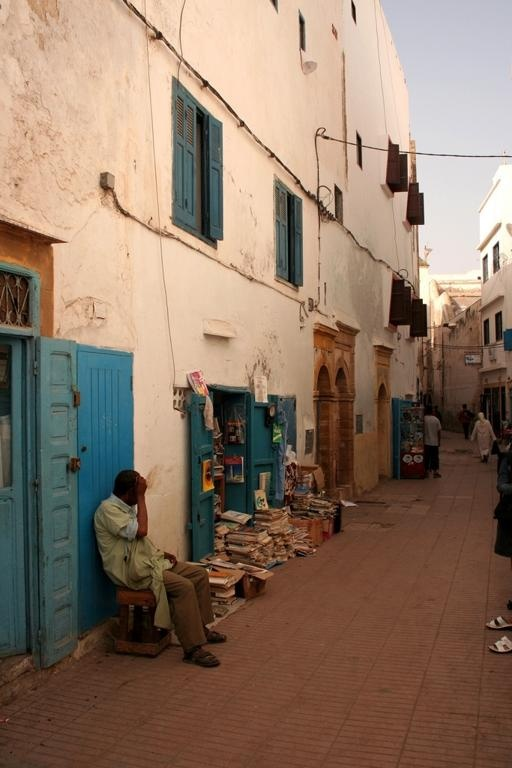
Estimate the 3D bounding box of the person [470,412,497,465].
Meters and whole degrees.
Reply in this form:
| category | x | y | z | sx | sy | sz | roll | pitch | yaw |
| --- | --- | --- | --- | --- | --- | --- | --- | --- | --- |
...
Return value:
| category | x | y | z | sx | sy | sz | roll | pitch | yaw |
| --- | --- | --- | --- | --- | --- | --- | --- | --- | --- |
| person | 7.575 | 1.672 | 20.612 | 0.654 | 2.027 | 0.416 | 2 | 33 | 26 |

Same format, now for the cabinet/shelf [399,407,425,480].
| category | x | y | z | sx | sy | sz | roll | pitch | yaw |
| --- | --- | --- | --- | --- | --- | --- | --- | --- | --- |
| cabinet/shelf | 4.346 | 1.622 | 17.220 | 0.675 | 1.964 | 0.559 | -1 | -3 | 21 |

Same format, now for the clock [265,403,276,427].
| category | x | y | z | sx | sy | sz | roll | pitch | yaw |
| --- | --- | --- | --- | --- | --- | --- | --- | --- | --- |
| clock | 0.197 | 0.408 | 8.409 | 0.041 | 0.241 | 0.247 | -4 | -1 | 17 |

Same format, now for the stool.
| category | x | y | z | sx | sy | sz | roll | pitch | yaw |
| --- | --- | --- | --- | --- | --- | --- | --- | --- | --- |
| stool | -0.791 | 1.677 | 4.335 | 0.236 | 0.487 | 0.386 | -7 | -8 | -11 |

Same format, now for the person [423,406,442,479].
| category | x | y | z | sx | sy | sz | roll | pitch | yaw |
| --- | --- | --- | --- | --- | --- | --- | --- | --- | --- |
| person | 4.932 | 1.571 | 17.360 | 0.450 | 2.008 | 1.166 | -1 | -3 | 17 |

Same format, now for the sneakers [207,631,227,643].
| category | x | y | z | sx | sy | sz | roll | pitch | yaw |
| --- | --- | --- | --- | --- | --- | --- | --- | --- | --- |
| sneakers | -0.292 | 1.844 | 4.532 | 0.115 | 0.078 | 0.073 | 1 | 8 | -6 |

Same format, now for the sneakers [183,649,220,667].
| category | x | y | z | sx | sy | sz | roll | pitch | yaw |
| --- | --- | --- | --- | --- | --- | --- | --- | --- | --- |
| sneakers | -0.345 | 1.750 | 4.049 | 0.189 | 0.127 | 0.105 | -1 | 1 | 28 |
